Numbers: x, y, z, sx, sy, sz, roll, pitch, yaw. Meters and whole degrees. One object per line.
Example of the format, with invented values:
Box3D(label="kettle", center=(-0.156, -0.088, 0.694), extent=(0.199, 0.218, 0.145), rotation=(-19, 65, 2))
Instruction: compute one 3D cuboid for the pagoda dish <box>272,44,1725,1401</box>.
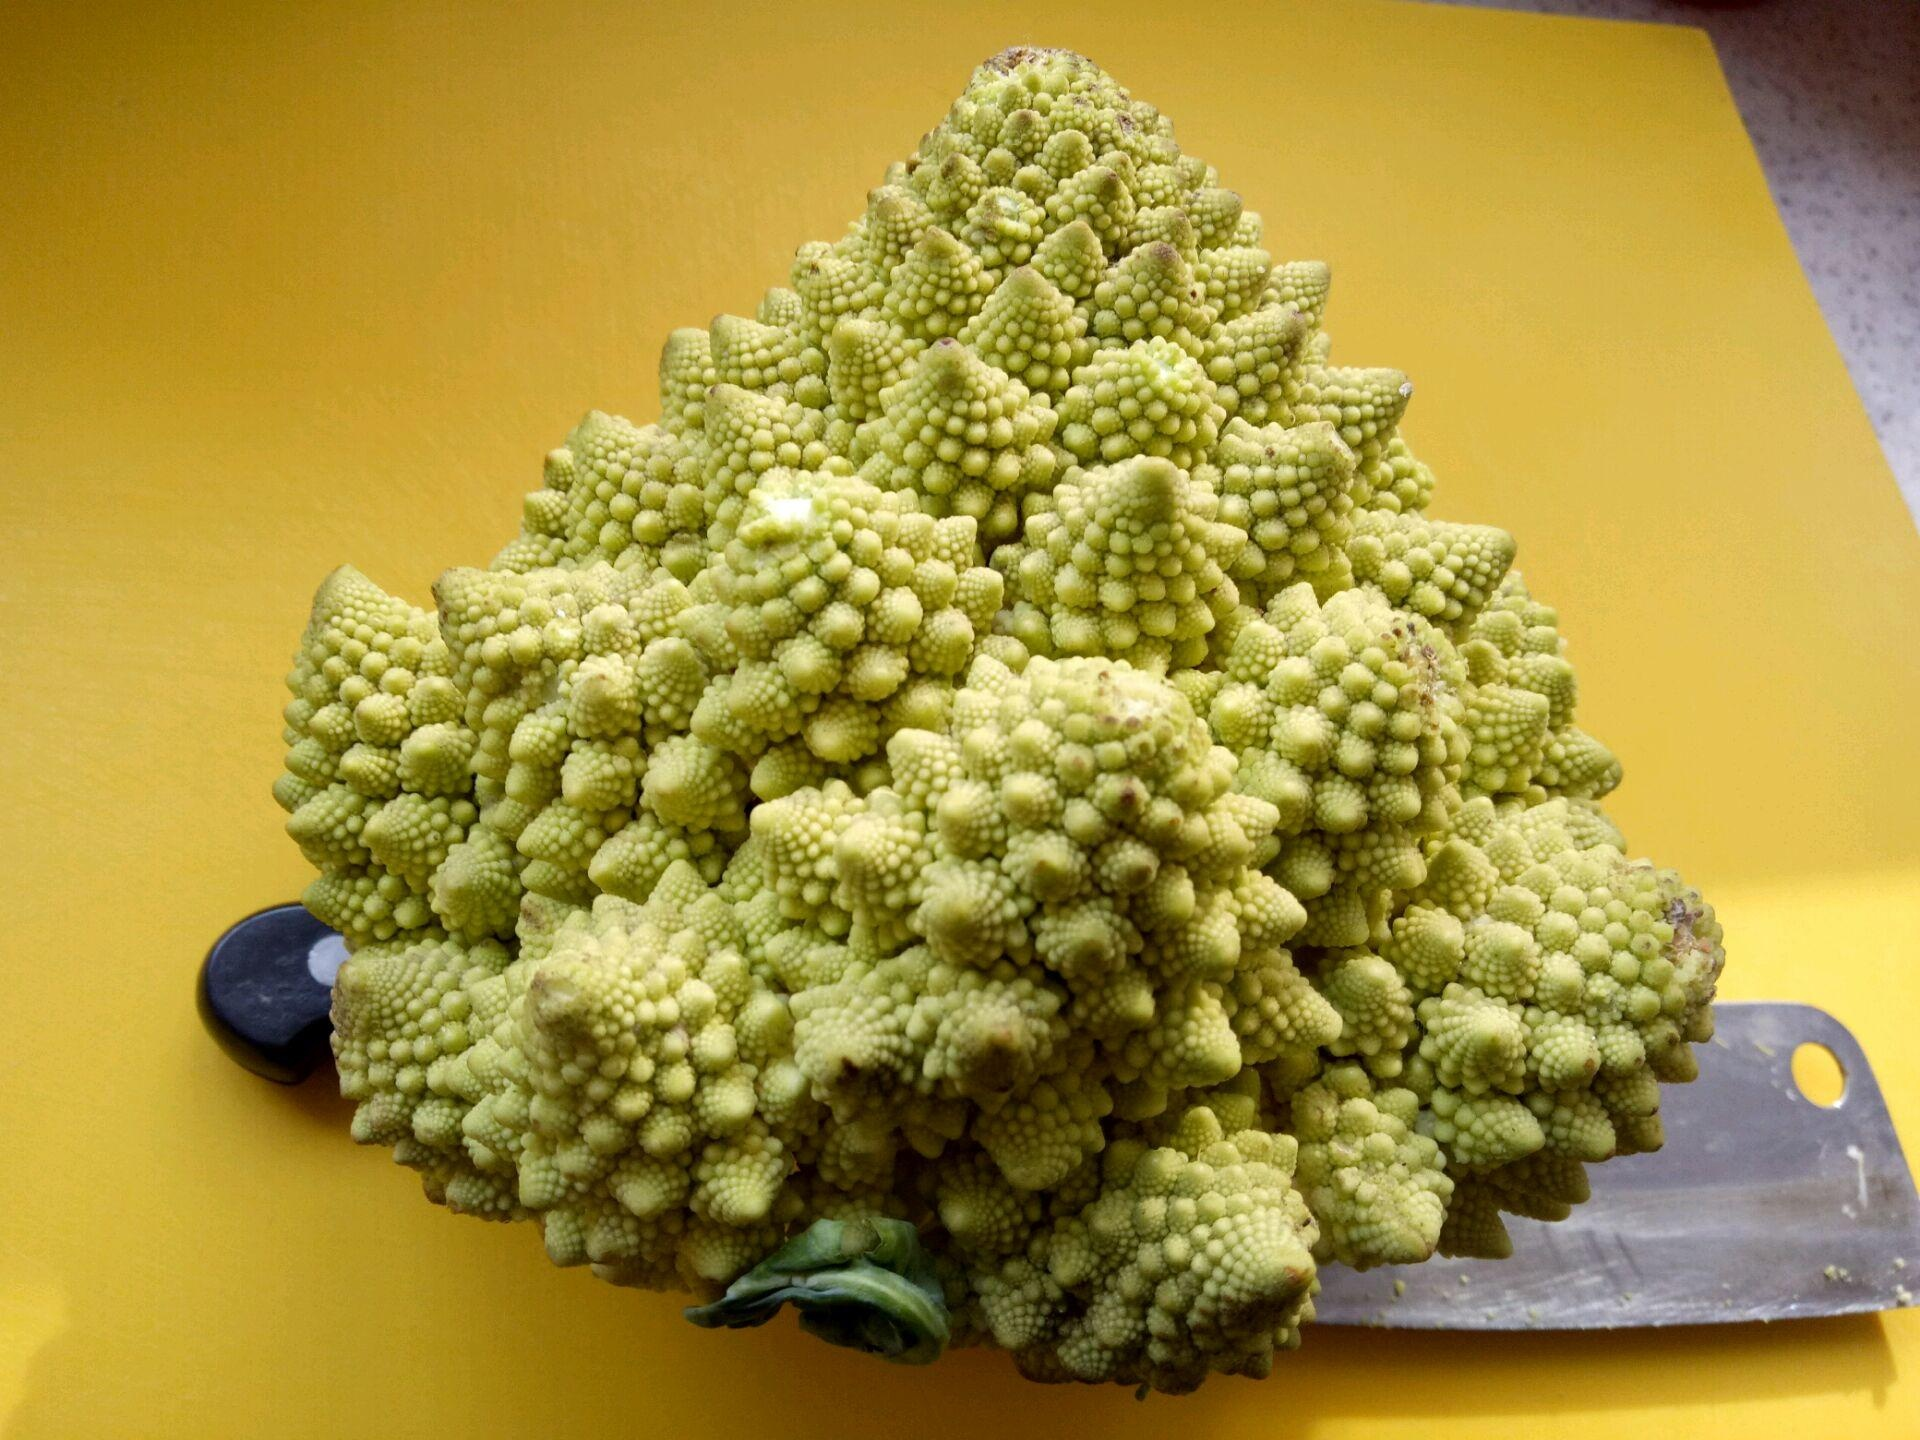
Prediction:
Box3D(label="pagoda dish", center=(0.017, 0.053, 3.350), extent=(1.841, 2.092, 1.096), rotation=(11, -39, -5))
